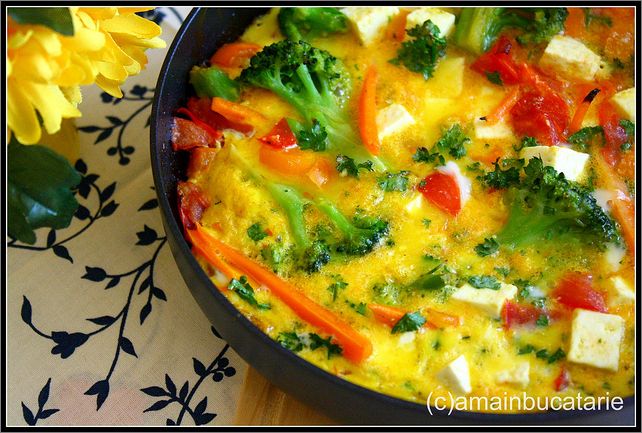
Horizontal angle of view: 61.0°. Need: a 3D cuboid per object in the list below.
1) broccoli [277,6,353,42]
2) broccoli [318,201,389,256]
[{"bbox_3d":[-0.065,-1.245,3.493,0.331,0.140,0.279,0,34,22],"label":"broccoli"},{"bbox_3d":[0.169,0.079,3.076,0.250,0.177,0.328,-36,66,-28],"label":"broccoli"}]
